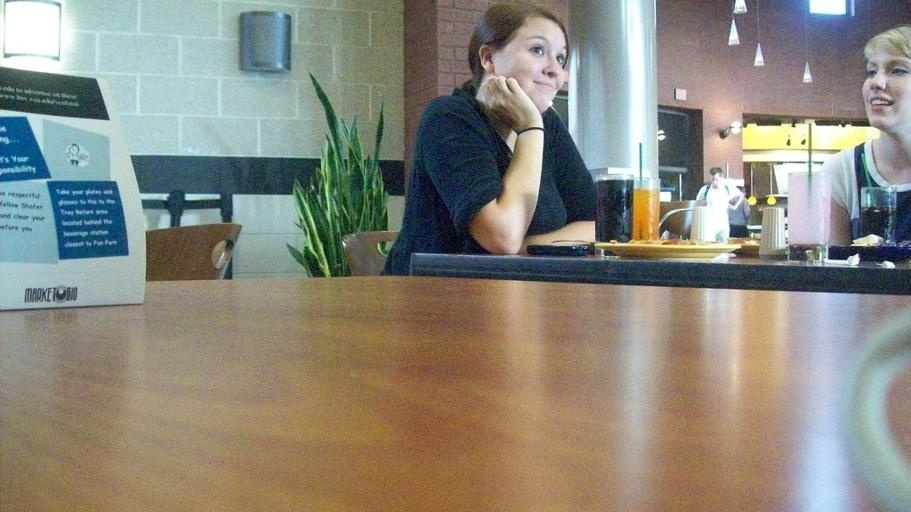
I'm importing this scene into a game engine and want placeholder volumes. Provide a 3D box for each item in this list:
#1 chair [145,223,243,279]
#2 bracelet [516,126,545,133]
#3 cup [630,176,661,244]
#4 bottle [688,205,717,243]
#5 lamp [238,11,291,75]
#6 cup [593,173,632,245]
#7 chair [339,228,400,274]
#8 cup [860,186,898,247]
[{"bbox_3d":[-0.716,0.000,1.826,0.203,0.136,0.180,4,-11,-13],"label":"chair"},{"bbox_3d":[0.191,-0.333,1.779,0.077,0.016,0.061,2,10,15],"label":"bracelet"},{"bbox_3d":[0.398,-0.098,1.399,0.054,0.122,0.121,2,11,15],"label":"cup"},{"bbox_3d":[0.569,-0.071,1.533,0.060,0.084,0.059,-7,17,2],"label":"bottle"},{"bbox_3d":[-1.402,-1.568,4.918,0.368,0.390,0.356,4,10,13],"label":"lamp"},{"bbox_3d":[0.336,-0.099,1.413,0.077,0.137,0.085,2,11,14],"label":"cup"},{"bbox_3d":[-0.261,0.002,2.089,0.161,0.191,0.139,0,-6,-5],"label":"chair"},{"bbox_3d":[0.976,-0.091,1.543,0.081,0.134,0.080,4,0,0],"label":"cup"}]
